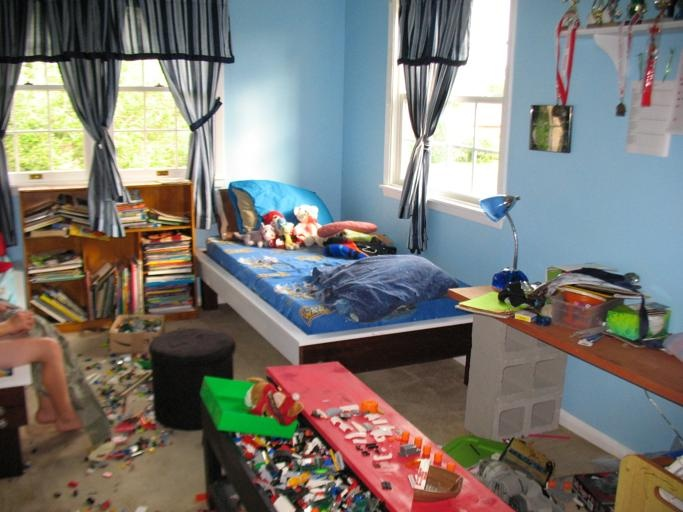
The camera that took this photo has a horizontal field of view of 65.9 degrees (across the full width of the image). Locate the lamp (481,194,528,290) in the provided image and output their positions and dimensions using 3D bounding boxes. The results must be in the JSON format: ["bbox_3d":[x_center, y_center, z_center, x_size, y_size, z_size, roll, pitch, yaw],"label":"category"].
[{"bbox_3d":[0.958,-0.109,3.102,0.259,0.528,0.693,3,16,17],"label":"lamp"}]

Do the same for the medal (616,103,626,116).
[{"bbox_3d":[1.398,-0.734,2.630,0.039,0.069,0.141,5,16,24],"label":"medal"}]

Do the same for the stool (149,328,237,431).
[{"bbox_3d":[-0.875,0.672,3.174,0.538,0.472,0.543,6,17,10],"label":"stool"}]

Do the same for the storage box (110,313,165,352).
[{"bbox_3d":[-1.505,0.560,3.929,0.381,0.165,0.361,-3,16,-15],"label":"storage box"}]

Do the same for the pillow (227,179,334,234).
[{"bbox_3d":[-0.567,-0.476,4.676,0.662,0.189,0.570,-4,41,-34],"label":"pillow"}]

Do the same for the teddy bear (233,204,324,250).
[{"bbox_3d":[-0.502,-0.244,4.447,0.549,0.206,0.386,-1,3,32],"label":"teddy bear"}]

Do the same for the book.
[{"bbox_3d":[-1.957,0.046,4.297,1.085,0.871,0.306,-5,9,-27],"label":"book"}]

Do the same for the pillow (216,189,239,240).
[{"bbox_3d":[-1.015,-0.361,4.657,0.120,0.377,0.335,-2,2,-7],"label":"pillow"}]

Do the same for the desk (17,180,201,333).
[{"bbox_3d":[-1.944,0.030,4.263,1.252,1.000,0.348,-5,11,-26],"label":"desk"}]
